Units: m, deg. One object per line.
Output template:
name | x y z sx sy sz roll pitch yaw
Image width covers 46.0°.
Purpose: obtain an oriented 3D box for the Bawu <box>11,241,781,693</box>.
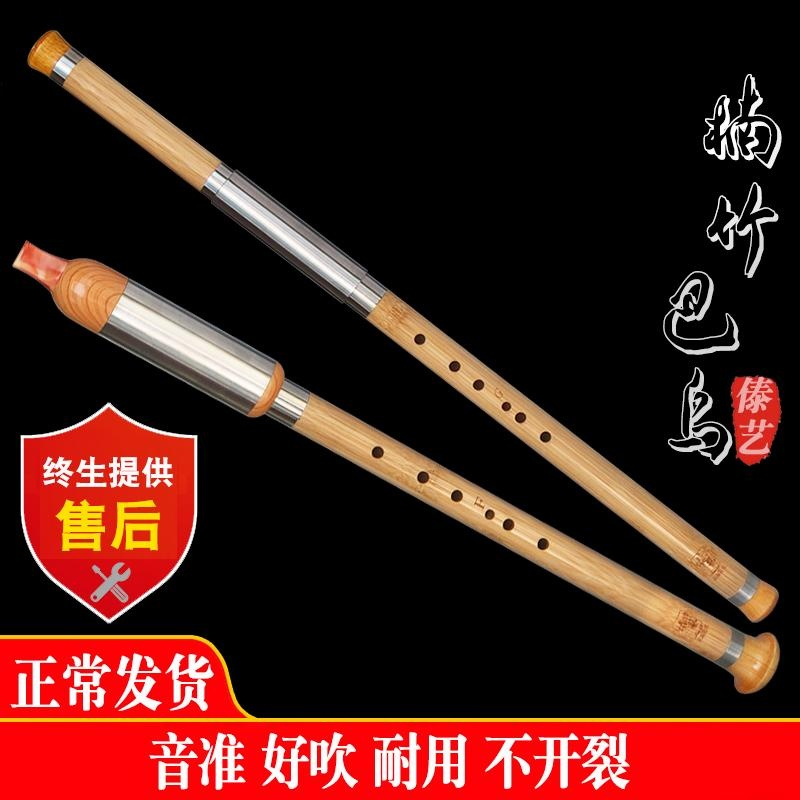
Bawu | -0.011 0.166 2.692 2.443 0.293 0.270 29 -62 6
